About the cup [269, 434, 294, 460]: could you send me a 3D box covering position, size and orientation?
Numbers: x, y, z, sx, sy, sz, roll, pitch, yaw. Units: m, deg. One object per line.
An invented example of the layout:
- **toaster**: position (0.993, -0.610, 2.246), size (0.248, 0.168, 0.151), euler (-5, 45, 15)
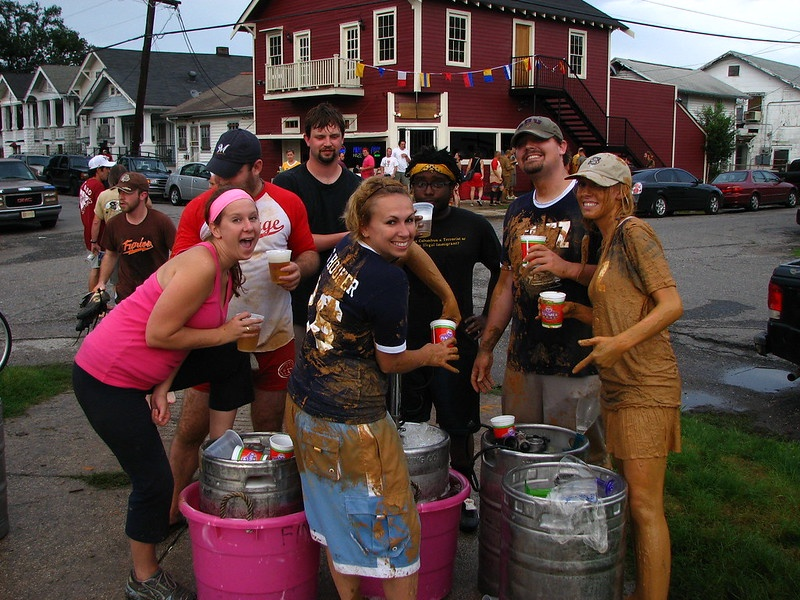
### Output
- **cup**: position (-0.603, 0.752, 3.182), size (0.129, 0.137, 0.130), euler (2, 6, 0)

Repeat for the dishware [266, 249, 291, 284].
- **dishware**: position (-0.732, -0.202, 3.676), size (0.182, 0.200, 0.178), euler (1, -3, -2)

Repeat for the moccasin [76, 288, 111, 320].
- **moccasin**: position (-3.287, 0.049, 6.554), size (0.549, 0.239, 0.189), euler (-32, -45, 32)

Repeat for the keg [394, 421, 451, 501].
- **keg**: position (0.149, 0.885, 3.406), size (0.320, 0.358, 0.320), euler (-2, 11, -3)

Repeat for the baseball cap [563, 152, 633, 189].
- **baseball cap**: position (1.135, -0.695, 3.389), size (0.262, 0.138, 0.189), euler (7, 5, -31)

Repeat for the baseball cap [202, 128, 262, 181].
- **baseball cap**: position (-1.030, -0.921, 3.872), size (0.255, 0.216, 0.371), euler (33, 45, 24)

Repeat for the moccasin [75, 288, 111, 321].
- **moccasin**: position (-3.362, 0.049, 6.686), size (0.563, 0.243, 0.197), euler (-33, -47, 32)

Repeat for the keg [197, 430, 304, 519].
- **keg**: position (-0.784, 0.944, 3.260), size (0.431, 0.333, 0.451), euler (0, -2, -4)

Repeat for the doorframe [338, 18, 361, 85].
- **doorframe**: position (-2.054, -10.284, 25.557), size (0.851, 2.722, 1.026), euler (-1, 8, -5)

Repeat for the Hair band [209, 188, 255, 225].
- **Hair band**: position (-0.902, -0.500, 3.227), size (0.211, 0.173, 0.116), euler (-2, 8, -15)

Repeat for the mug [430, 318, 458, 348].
- **mug**: position (0.255, 0.170, 3.389), size (0.129, 0.126, 0.130), euler (0, -4, 0)

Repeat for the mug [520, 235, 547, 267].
- **mug**: position (0.817, -0.309, 3.798), size (0.168, 0.178, 0.175), euler (1, -8, 26)

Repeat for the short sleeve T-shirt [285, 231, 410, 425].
- **short sleeve T-shirt**: position (-0.269, 0.127, 2.901), size (0.586, 0.862, 0.321), euler (6, 10, 38)

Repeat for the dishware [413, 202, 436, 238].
- **dishware**: position (0.158, -0.533, 3.916), size (0.196, 0.208, 0.197), euler (0, -15, 1)

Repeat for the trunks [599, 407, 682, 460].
- **trunks**: position (1.266, 0.654, 3.228), size (0.309, 0.232, 0.306), euler (3, -6, -37)

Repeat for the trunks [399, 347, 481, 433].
- **trunks**: position (0.275, 0.582, 3.994), size (0.673, 0.667, 0.400), euler (1, 4, 20)

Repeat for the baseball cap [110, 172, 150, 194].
- **baseball cap**: position (-2.719, -1.192, 6.239), size (0.242, 0.176, 0.335), euler (4, 6, 29)

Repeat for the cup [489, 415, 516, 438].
- **cup**: position (0.580, 0.714, 3.471), size (0.114, 0.096, 0.124), euler (-1, 1, 0)

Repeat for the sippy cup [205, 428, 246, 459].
- **sippy cup**: position (-0.958, 0.795, 3.321), size (0.152, 0.149, 0.182), euler (-9, 0, 29)

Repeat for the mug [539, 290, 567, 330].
- **mug**: position (0.893, 0.053, 3.676), size (0.190, 0.199, 0.193), euler (1, 5, 5)

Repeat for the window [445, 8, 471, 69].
- **window**: position (2.334, -10.574, 24.637), size (1.260, 2.188, 0.285), euler (-7, 10, -39)

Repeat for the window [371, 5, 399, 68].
- **window**: position (-0.561, -10.552, 24.482), size (1.140, 2.177, 0.360), euler (6, 10, 39)
